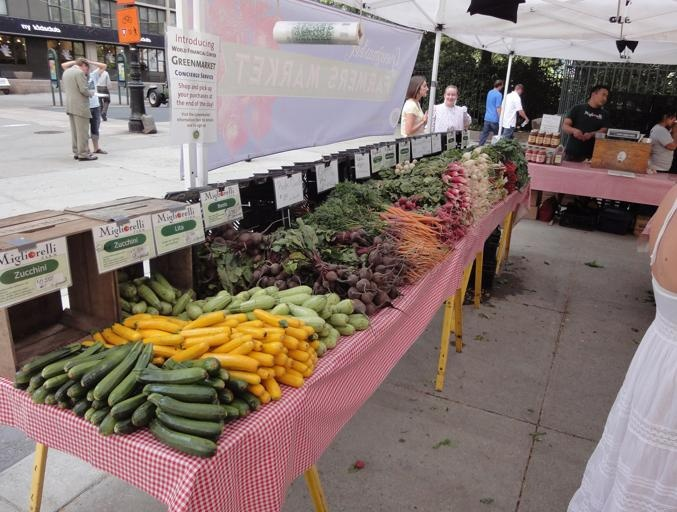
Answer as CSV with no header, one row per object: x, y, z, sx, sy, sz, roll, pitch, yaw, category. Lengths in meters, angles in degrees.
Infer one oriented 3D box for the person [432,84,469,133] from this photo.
2.102,-2.780,8.462,0.542,0.805,0.698,12,22,13,person

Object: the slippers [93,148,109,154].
-5.746,-2.561,10.862,0.263,0.100,0.125,4,17,10,slippers

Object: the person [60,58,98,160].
-5.282,-3.106,9.413,0.839,2.646,0.770,19,21,38,person

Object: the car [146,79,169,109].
-9.411,-8.382,23.319,0.935,1.077,3.477,-3,23,-23,car

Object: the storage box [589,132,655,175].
5.106,-1.885,8.054,0.999,0.744,0.694,10,18,31,storage box
